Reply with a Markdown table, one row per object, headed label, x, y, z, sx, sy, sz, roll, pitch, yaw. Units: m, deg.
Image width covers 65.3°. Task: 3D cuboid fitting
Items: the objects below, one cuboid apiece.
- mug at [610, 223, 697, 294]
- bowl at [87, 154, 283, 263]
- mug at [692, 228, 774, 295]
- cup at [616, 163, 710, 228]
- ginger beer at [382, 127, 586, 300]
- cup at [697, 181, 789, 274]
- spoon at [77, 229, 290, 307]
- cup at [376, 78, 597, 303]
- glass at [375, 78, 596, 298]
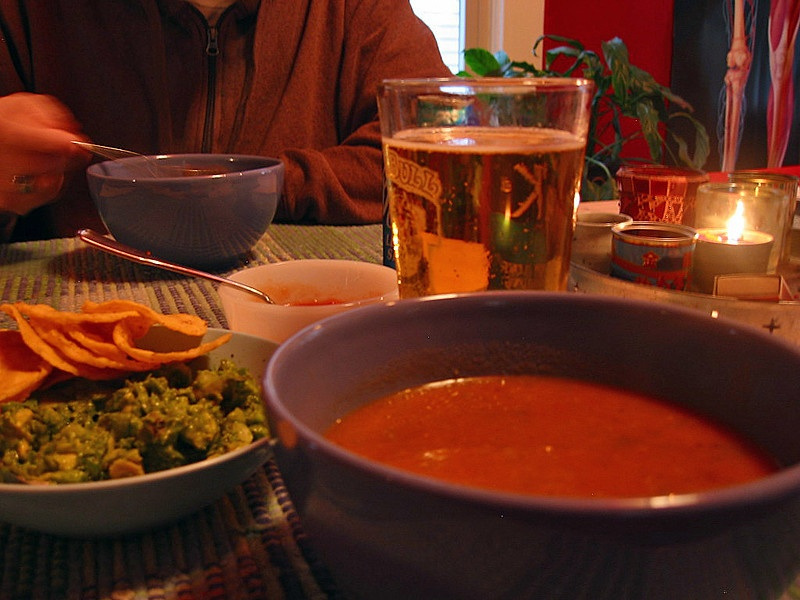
| label | x | y | z | sx | sy | sz | roll | pitch | yaw |
| --- | --- | --- | --- | --- | --- | --- | --- | --- | --- |
| mug | 0.197 | -0.033 | 0.493 | 0.062 | 0.045 | 0.068 | 8 | 17 | 20 |
| bowl | -0.279 | -0.112 | 0.897 | 0.204 | 0.113 | 0.208 | -1 | 3 | 0 |
| mug | 0.279 | -0.032 | 0.530 | 0.057 | 0.048 | 0.071 | 10 | 18 | 28 |
| cup | 0.294 | -0.109 | 0.718 | 0.078 | 0.059 | 0.077 | 2 | 10 | 0 |
| ginger beer | 0.057 | -0.067 | 0.499 | 0.121 | 0.135 | 0.126 | -1 | 9 | -6 |
| cup | 0.317 | -0.073 | 0.618 | 0.083 | 0.078 | 0.083 | -1 | 13 | 0 |
| spoon | -0.271 | -0.038 | 0.770 | 0.210 | 0.020 | 0.024 | 24 | 21 | 1 |
| cup | 0.064 | -0.078 | 0.509 | 0.162 | 0.235 | 0.150 | -1 | 8 | 0 |
| glass | 0.062 | -0.079 | 0.509 | 0.161 | 0.234 | 0.150 | -2 | 9 | -6 |
